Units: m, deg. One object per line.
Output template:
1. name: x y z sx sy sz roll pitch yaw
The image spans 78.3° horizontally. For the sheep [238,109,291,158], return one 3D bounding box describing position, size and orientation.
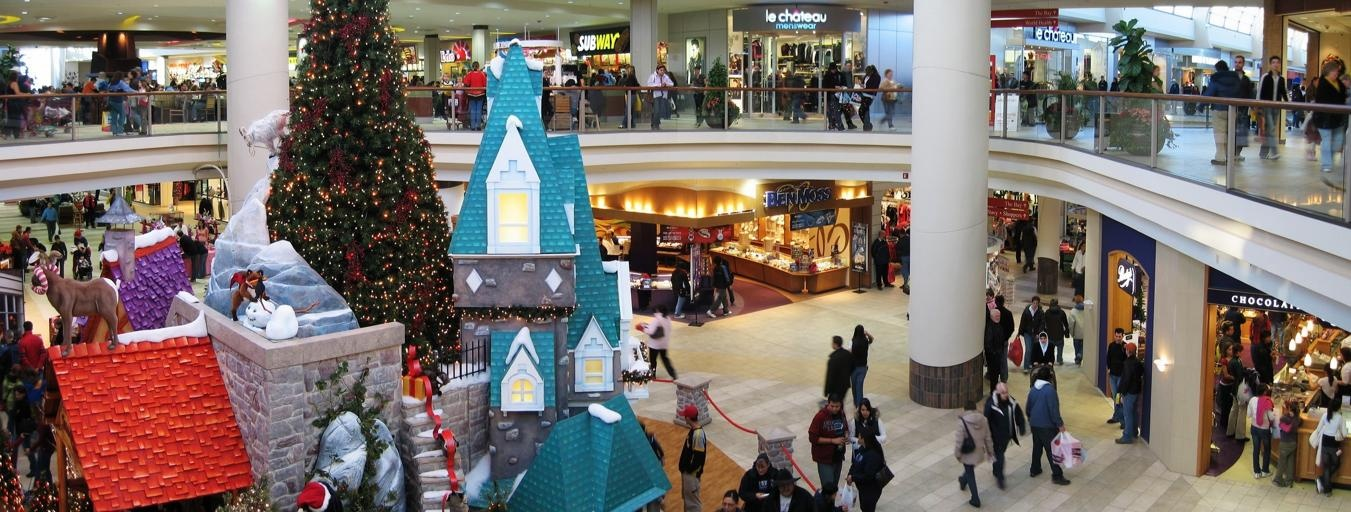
1. sheep: -11.427 -3.459 23.500 1.362 1.236 0.609 0 11 9
